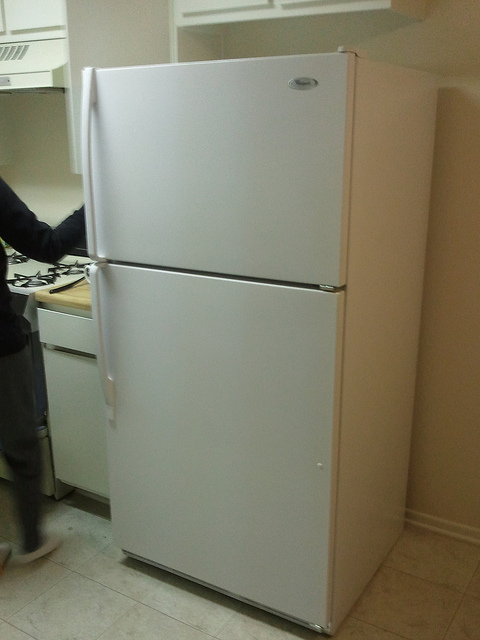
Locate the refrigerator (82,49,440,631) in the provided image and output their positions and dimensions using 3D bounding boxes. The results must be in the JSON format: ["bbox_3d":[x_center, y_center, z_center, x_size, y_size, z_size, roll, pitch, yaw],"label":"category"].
[{"bbox_3d":[-0.068,-0.036,1.607,0.586,1.447,0.607,3,25,1],"label":"refrigerator"}]

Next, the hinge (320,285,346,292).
[{"bbox_3d":[0.194,-0.067,1.144,0.056,0.013,0.026,-2,14,-4],"label":"hinge"}]
